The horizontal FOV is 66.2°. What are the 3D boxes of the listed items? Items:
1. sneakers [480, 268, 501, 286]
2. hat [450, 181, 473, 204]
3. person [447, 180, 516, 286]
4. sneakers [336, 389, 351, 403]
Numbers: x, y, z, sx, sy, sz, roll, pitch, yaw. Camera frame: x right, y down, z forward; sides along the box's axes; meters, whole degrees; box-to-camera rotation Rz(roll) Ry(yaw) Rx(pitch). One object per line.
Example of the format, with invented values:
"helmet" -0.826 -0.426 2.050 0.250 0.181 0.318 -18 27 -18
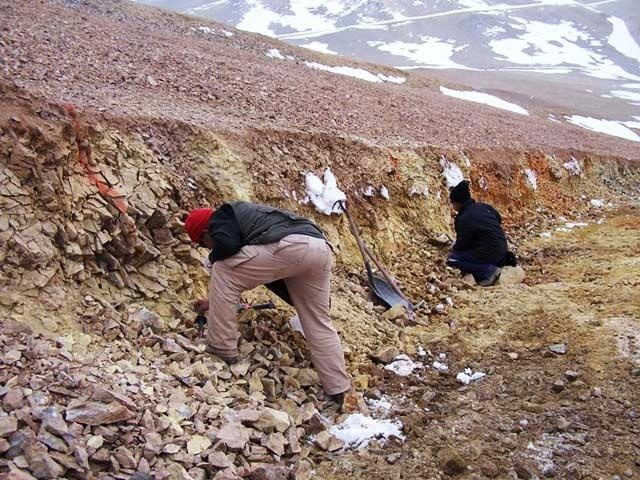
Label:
"sneakers" 2.155 0.486 6.202 0.263 0.235 0.127 3 22 -35
"hat" 1.938 -0.654 6.750 0.289 0.274 0.363 -12 11 -6
"person" 2.091 -0.122 6.650 1.070 1.283 0.970 -13 16 -38
"sneakers" 0.196 1.359 4.223 0.099 0.134 0.035 45 16 -14
